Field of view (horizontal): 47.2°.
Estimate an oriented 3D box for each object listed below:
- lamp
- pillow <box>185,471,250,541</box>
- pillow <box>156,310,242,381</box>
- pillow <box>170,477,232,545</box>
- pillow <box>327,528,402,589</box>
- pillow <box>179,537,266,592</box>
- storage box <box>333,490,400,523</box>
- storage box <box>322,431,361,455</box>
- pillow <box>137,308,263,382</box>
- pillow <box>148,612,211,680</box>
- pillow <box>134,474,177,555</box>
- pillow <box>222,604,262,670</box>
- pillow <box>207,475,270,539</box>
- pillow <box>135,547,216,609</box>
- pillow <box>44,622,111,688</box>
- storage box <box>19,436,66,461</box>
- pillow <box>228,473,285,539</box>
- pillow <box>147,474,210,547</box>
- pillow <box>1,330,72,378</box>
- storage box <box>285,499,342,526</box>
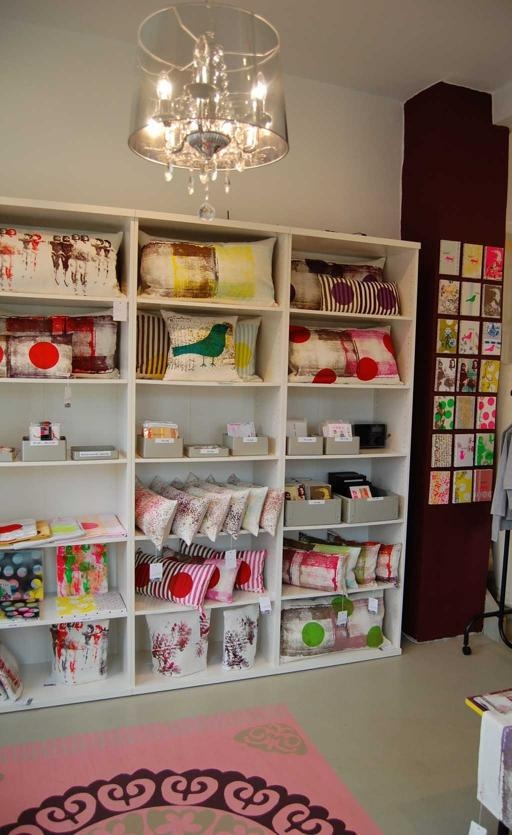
[{"bbox_3d":[-0.133,-0.816,1.710,0.462,0.562,0.424,1,3,-35],"label":"lamp"},{"bbox_3d":[-0.173,0.430,2.835,0.275,0.295,0.083,8,0,44],"label":"pillow"},{"bbox_3d":[-0.288,-0.342,2.804,0.317,0.316,0.122,1,-11,-17],"label":"pillow"},{"bbox_3d":[-0.241,0.447,2.784,0.085,0.278,0.272,17,-7,-36],"label":"pillow"},{"bbox_3d":[0.666,0.806,3.358,0.422,0.385,0.117,-25,-55,39],"label":"pillow"},{"bbox_3d":[-0.179,0.756,2.979,0.303,0.170,0.096,-4,-24,36],"label":"pillow"},{"bbox_3d":[0.632,0.502,3.178,0.186,0.094,0.197,-2,2,-17],"label":"storage box"},{"bbox_3d":[0.452,0.119,3.110,0.134,0.077,0.100,-1,1,-20],"label":"storage box"},{"bbox_3d":[-0.280,-0.345,2.863,0.553,0.361,0.148,2,-7,-5],"label":"pillow"},{"bbox_3d":[-0.373,1.091,2.875,0.284,0.314,0.194,3,-10,-20],"label":"pillow"},{"bbox_3d":[-0.516,0.387,2.806,0.123,0.232,0.353,-12,37,-37],"label":"pillow"},{"bbox_3d":[-0.076,1.107,2.960,0.176,0.306,0.106,2,2,-4],"label":"pillow"},{"bbox_3d":[-0.098,0.446,2.886,0.078,0.278,0.261,11,-3,-42],"label":"pillow"},{"bbox_3d":[-0.432,0.818,2.890,0.418,0.248,0.125,7,-17,13],"label":"pillow"},{"bbox_3d":[-0.840,1.100,2.797,0.246,0.287,0.264,-1,-15,-5],"label":"pillow"},{"bbox_3d":[-0.911,0.140,2.534,0.170,0.099,0.070,1,3,-29],"label":"storage box"},{"bbox_3d":[0.006,0.446,2.943,0.319,0.347,0.097,9,-3,7],"label":"pillow"},{"bbox_3d":[-0.360,0.452,2.842,0.367,0.230,0.121,6,11,14],"label":"pillow"},{"bbox_3d":[-0.953,-0.270,2.518,0.320,0.215,0.090,0,1,-21],"label":"pillow"},{"bbox_3d":[0.293,0.490,3.046,0.208,0.102,0.157,0,-1,-19],"label":"storage box"}]
